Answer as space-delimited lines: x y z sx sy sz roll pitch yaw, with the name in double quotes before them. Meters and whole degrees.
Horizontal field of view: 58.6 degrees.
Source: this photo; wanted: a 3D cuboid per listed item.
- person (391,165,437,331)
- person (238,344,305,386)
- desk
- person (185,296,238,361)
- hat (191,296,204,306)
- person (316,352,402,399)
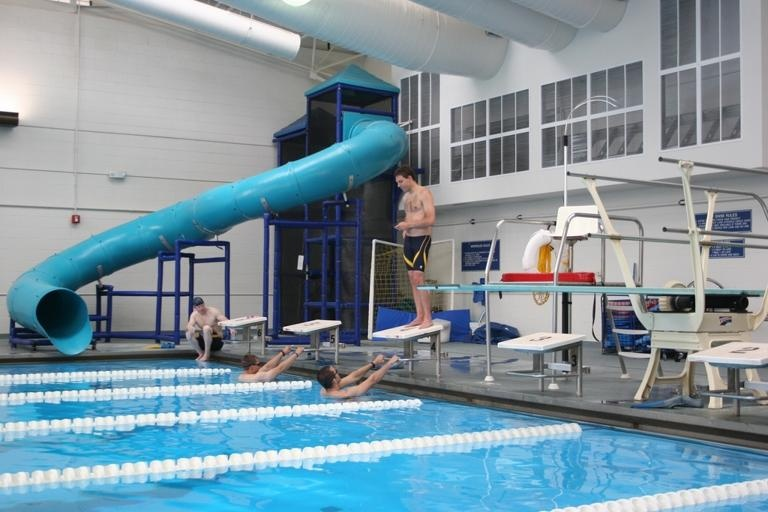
"person" 0.421 -0.166 9.220 0.512 2.234 0.615 0 -4 2
"person" -1.615 1.515 9.554 0.789 0.457 0.614 2 -4 -20
"desk" 3.204 1.161 7.122 1.090 0.509 1.002 2 -9 17
"person" -2.928 1.225 11.402 0.656 1.061 0.925 1 -4 -15
"hat" -2.965 0.730 11.088 0.178 0.184 0.207 -1 -7 -21
"person" -0.324 1.524 8.620 1.032 0.315 0.645 -13 7 -30
